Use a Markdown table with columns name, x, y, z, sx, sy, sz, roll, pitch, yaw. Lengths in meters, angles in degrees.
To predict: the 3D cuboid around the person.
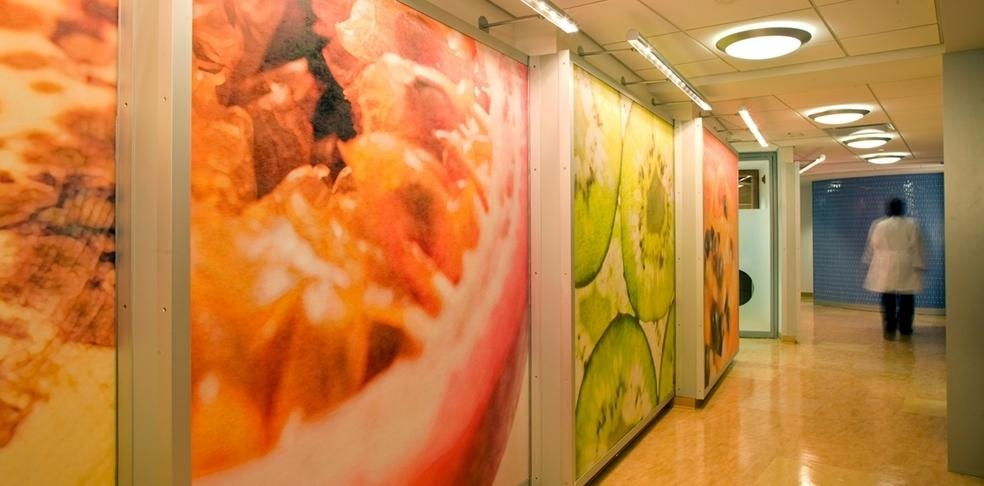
| name | x | y | z | sx | sy | sz | roll | pitch | yaw |
| --- | --- | --- | --- | --- | --- | --- | --- | --- | --- |
| person | 7.393 | 0.490 | 11.253 | 1.188 | 2.599 | 1.223 | -1 | -1 | 30 |

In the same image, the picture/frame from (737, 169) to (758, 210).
| name | x | y | z | sx | sy | sz | roll | pitch | yaw |
| --- | --- | --- | --- | --- | --- | --- | --- | --- | --- |
| picture/frame | 4.243 | -0.825 | 10.332 | 0.448 | 0.665 | 0.047 | 0 | -6 | -30 |
